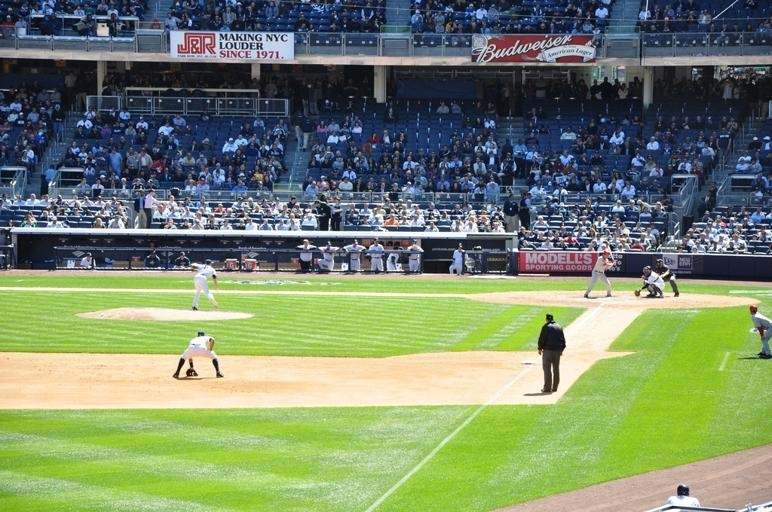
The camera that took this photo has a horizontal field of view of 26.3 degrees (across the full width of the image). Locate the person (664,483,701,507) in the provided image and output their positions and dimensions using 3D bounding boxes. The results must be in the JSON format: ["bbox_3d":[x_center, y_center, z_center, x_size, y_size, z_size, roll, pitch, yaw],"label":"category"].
[{"bbox_3d":[10.865,8.831,60.461,1.077,0.491,1.209,1,13,0],"label":"person"}]

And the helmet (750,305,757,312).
[{"bbox_3d":[16.350,2.326,73.232,0.282,0.273,0.382,1,-3,-8],"label":"helmet"}]

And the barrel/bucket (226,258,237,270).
[{"bbox_3d":[-8.850,0.424,94.426,0.698,0.638,0.222,1,8,-9],"label":"barrel/bucket"}]

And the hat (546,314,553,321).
[{"bbox_3d":[6.818,2.524,68.692,0.283,0.249,0.216,-7,13,-25],"label":"hat"}]

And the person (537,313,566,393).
[{"bbox_3d":[6.927,4.034,69.193,1.061,3.321,1.066,4,8,8],"label":"person"}]

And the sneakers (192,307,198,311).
[{"bbox_3d":[-9.360,2.538,80.601,0.158,0.107,0.333,11,10,13],"label":"sneakers"}]

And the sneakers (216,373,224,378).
[{"bbox_3d":[-7.112,5.077,70.486,0.247,0.219,0.144,-2,9,-7],"label":"sneakers"}]

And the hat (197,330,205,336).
[{"bbox_3d":[-7.875,3.220,69.937,0.334,0.294,0.415,-1,-13,-1],"label":"hat"}]
